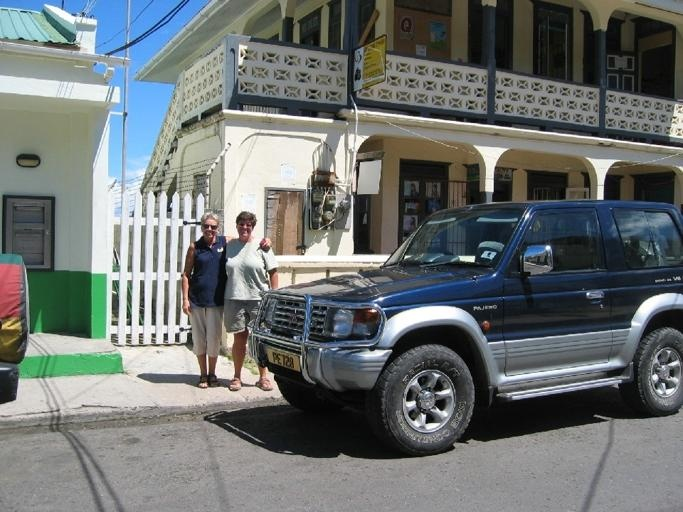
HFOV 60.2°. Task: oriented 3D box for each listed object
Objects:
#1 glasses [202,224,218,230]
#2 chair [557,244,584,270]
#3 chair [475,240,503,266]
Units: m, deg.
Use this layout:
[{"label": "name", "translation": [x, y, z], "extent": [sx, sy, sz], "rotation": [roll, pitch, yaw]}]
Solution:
[{"label": "glasses", "translation": [-1.677, -0.360, 7.492], "extent": [0.192, 0.071, 0.112], "rotation": [0, 5, -15]}, {"label": "chair", "translation": [2.466, 0.031, 6.489], "extent": [0.231, 0.336, 0.303], "rotation": [1, -1, 4]}, {"label": "chair", "translation": [1.574, -0.012, 6.310], "extent": [0.256, 0.239, 0.258], "rotation": [20, -17, -10]}]
